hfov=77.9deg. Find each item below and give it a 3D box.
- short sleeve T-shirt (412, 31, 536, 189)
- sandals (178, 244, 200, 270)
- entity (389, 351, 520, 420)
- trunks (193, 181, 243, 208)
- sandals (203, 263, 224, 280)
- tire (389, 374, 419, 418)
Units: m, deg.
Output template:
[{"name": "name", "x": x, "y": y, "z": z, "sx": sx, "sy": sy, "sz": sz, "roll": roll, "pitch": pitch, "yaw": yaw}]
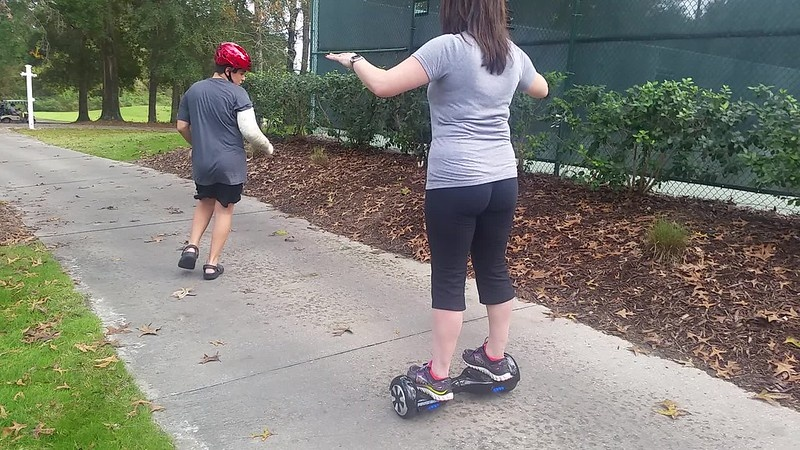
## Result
[{"name": "short sleeve T-shirt", "x": 0.581, "y": -0.979, "z": 4.350, "sx": 0.949, "sy": 1.315, "sz": 0.507, "roll": 4, "pitch": 18, "yaw": 0}, {"name": "sandals", "x": -2.858, "y": 0.445, "z": 6.644, "sx": 0.182, "sy": 0.180, "sz": 0.469, "roll": 8, "pitch": -19, "yaw": -17}, {"name": "entity", "x": 0.507, "y": 1.552, "z": 4.745, "sx": 1.414, "sy": 0.400, "sz": 0.490, "roll": -8, "pitch": 20, "yaw": -25}, {"name": "trunks", "x": -2.522, "y": -0.441, "z": 6.849, "sx": 0.620, "sy": 0.530, "sz": 0.333, "roll": 3, "pitch": 1, "yaw": 3}, {"name": "sandals", "x": -2.514, "y": 0.626, "z": 6.661, "sx": 0.282, "sy": 0.181, "sz": 0.213, "roll": -9, "pitch": 22, "yaw": -32}, {"name": "tire", "x": 0.042, "y": 1.599, "z": 4.566, "sx": 0.109, "sy": 0.314, "sz": 0.318, "roll": -13, "pitch": -21, "yaw": -25}]
